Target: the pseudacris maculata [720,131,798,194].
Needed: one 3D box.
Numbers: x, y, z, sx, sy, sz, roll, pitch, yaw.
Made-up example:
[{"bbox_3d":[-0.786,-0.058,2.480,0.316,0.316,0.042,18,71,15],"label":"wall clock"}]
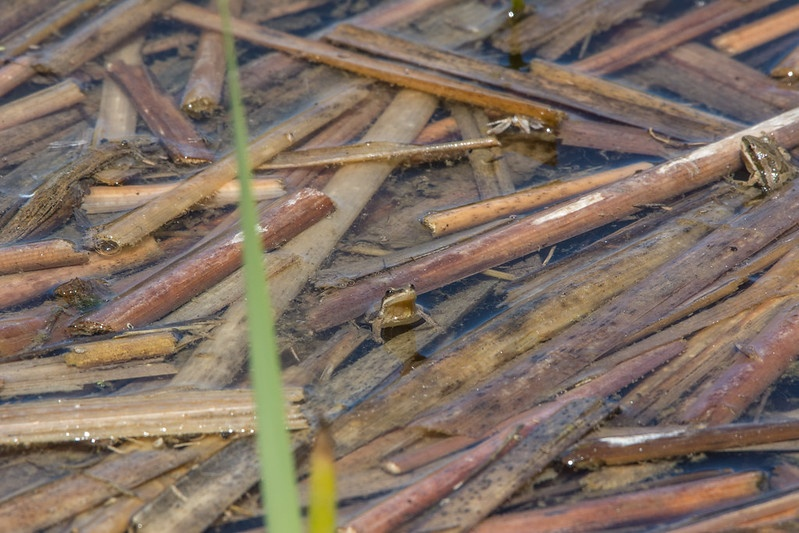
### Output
[{"bbox_3d":[2.666,-0.731,5.971,0.488,0.235,0.436,31,76,12],"label":"pseudacris maculata"}]
